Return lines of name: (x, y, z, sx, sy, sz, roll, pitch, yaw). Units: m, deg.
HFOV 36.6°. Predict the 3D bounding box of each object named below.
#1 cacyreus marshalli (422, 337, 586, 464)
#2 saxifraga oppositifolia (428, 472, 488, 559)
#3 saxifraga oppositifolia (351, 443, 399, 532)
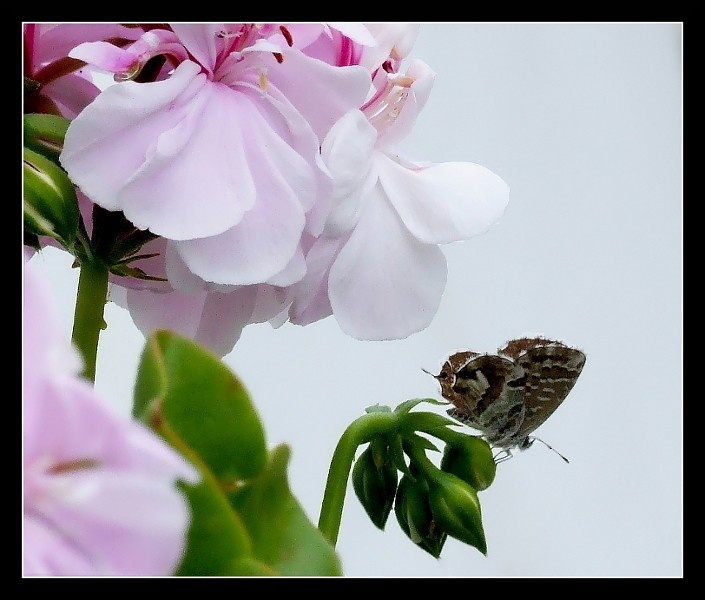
cacyreus marshalli: (0.114, 0.070, 0.823, 0.096, 0.064, 0.093, 55, -7, 8)
saxifraga oppositifolia: (0.078, 0.156, 0.795, 0.030, 0.069, 0.043, -1, 0, -6)
saxifraga oppositifolia: (0.018, 0.142, 0.833, 0.032, 0.066, 0.034, 8, 17, 39)
